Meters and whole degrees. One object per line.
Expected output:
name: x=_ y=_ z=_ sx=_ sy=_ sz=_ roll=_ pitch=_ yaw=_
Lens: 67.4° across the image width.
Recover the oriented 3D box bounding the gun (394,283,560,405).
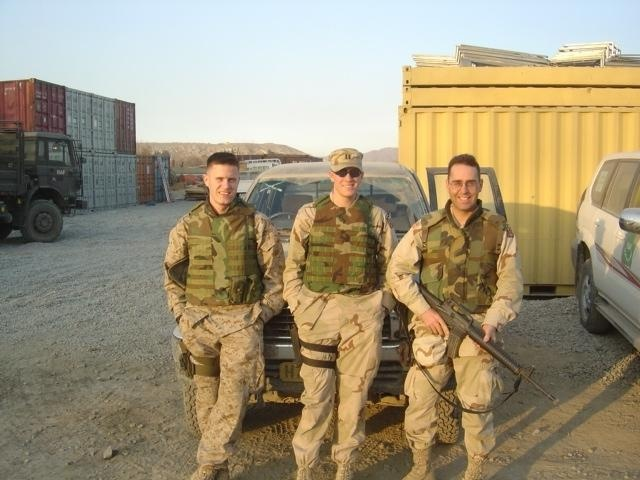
gun: x=1.164 y=0.809 z=3.558 sx=1.288 sy=0.515 sz=0.366 roll=38 pitch=22 yaw=15

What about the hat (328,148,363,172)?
hat: x=0.172 y=-0.520 z=3.176 sx=0.207 sy=0.147 sz=0.213 roll=0 pitch=8 yaw=1

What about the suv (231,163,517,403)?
suv: x=0.265 y=0.145 z=4.446 sx=1.782 sy=1.383 sz=2.220 roll=0 pitch=1 yaw=1
